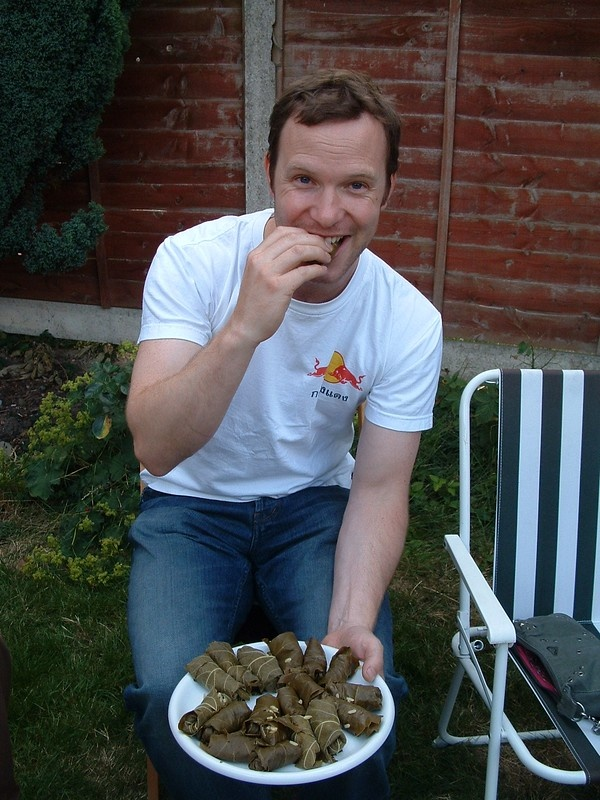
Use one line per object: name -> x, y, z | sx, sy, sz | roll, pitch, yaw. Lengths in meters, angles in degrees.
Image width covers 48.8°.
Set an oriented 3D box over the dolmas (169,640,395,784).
dolmas -> -0.033, 0.505, 1.063 | 0.269, 0.043, 0.263 | 0, 8, -3
